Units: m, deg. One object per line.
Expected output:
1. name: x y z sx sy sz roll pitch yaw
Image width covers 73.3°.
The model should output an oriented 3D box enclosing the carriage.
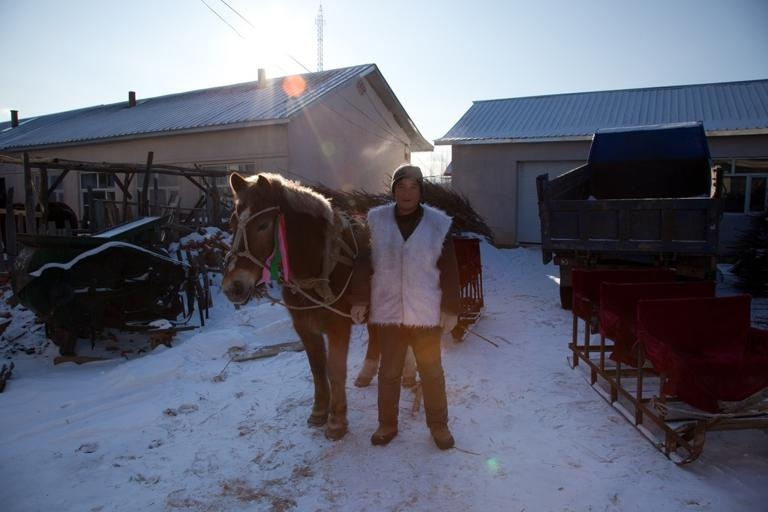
1. carriage: -0.502 0.582 6.809 1.020 2.978 3.993 -4 3 26

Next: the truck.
1. truck: 5.198 -0.923 10.613 3.279 3.572 5.845 1 9 23

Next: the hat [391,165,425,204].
1. hat: 0.282 -0.806 5.879 0.357 0.480 0.514 2 7 5

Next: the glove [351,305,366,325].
1. glove: -0.273 0.660 5.777 0.144 0.211 0.209 1 -16 5
